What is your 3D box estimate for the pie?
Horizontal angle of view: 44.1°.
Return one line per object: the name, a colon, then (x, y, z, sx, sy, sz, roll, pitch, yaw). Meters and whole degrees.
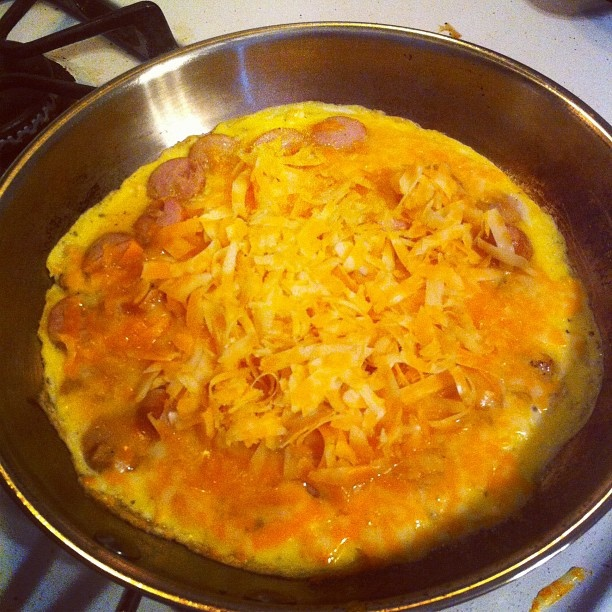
pie: (0.007, 0.011, 1.310, 0.945, 0.181, 0.839, -10, 77, 0)
